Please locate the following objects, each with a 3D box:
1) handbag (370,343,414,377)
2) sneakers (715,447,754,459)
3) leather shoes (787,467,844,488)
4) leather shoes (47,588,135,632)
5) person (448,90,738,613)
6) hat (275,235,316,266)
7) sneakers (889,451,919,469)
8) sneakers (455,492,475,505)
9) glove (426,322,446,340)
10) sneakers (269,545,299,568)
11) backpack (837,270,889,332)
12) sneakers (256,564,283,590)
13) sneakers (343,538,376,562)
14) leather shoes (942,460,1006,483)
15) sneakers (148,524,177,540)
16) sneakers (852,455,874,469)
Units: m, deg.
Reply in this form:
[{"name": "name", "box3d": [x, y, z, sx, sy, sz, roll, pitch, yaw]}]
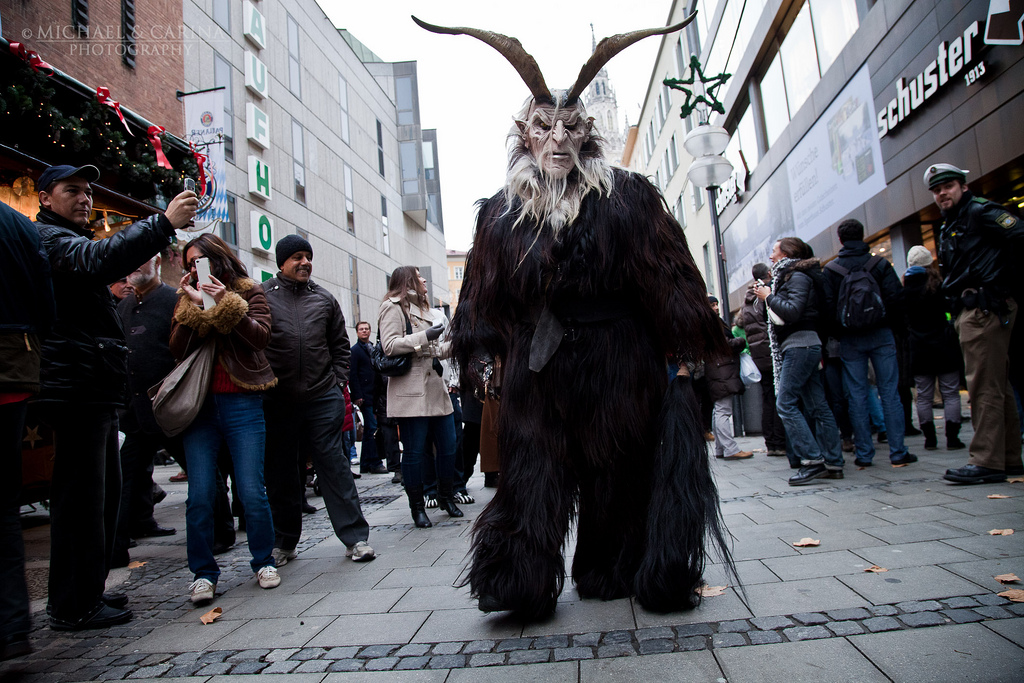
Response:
[{"name": "handbag", "box3d": [-1.214, 0.197, 6.853, 0.479, 0.463, 0.218, -3, -12, 9]}, {"name": "sneakers", "box3d": [2.921, 1.484, 8.771, 0.370, 0.149, 0.208, -3, -8, 9]}, {"name": "leather shoes", "box3d": [2.964, 1.294, 6.537, 0.629, 0.278, 0.209, 1, -7, -11]}, {"name": "leather shoes", "box3d": [-2.593, 1.721, 4.285, 0.522, 0.232, 0.174, -2, 0, -16]}, {"name": "person", "box3d": [0.418, 0.028, 3.913, 1.481, 2.789, 0.511, -5, 1, 3]}, {"name": "hat", "box3d": [-1.807, -0.773, 5.652, 0.305, 0.254, 0.278, -6, 1, 26]}, {"name": "sneakers", "box3d": [3.951, 1.179, 6.794, 0.330, 0.146, 0.116, -7, 6, -25]}, {"name": "sneakers", "box3d": [-0.511, 1.731, 7.429, 0.095, 0.119, 0.277, 2, -16, -19]}, {"name": "glove", "box3d": [-0.705, -0.083, 6.211, 0.167, 0.149, 0.338, -6, 1, -7]}, {"name": "sneakers", "box3d": [-1.796, 1.695, 5.312, 0.166, 0.198, 0.464, -3, -17, 2]}, {"name": "backpack", "box3d": [3.518, -0.442, 6.855, 0.432, 0.600, 0.341, -7, 9, 15]}, {"name": "sneakers", "box3d": [-1.713, 1.676, 4.789, 0.106, 0.085, 0.212, 2, -11, -29]}, {"name": "sneakers", "box3d": [-1.166, 1.660, 5.293, 0.118, 0.111, 0.238, 11, -23, -36]}, {"name": "leather shoes", "box3d": [3.847, 1.096, 5.647, 0.428, 0.182, 0.159, 0, -6, 24]}, {"name": "sneakers", "box3d": [-3.346, 1.849, 6.547, 0.285, 0.122, 0.097, 0, -5, -5]}, {"name": "sneakers", "box3d": [3.668, 1.278, 7.074, 0.081, 0.099, 0.232, -3, -17, 5]}]
